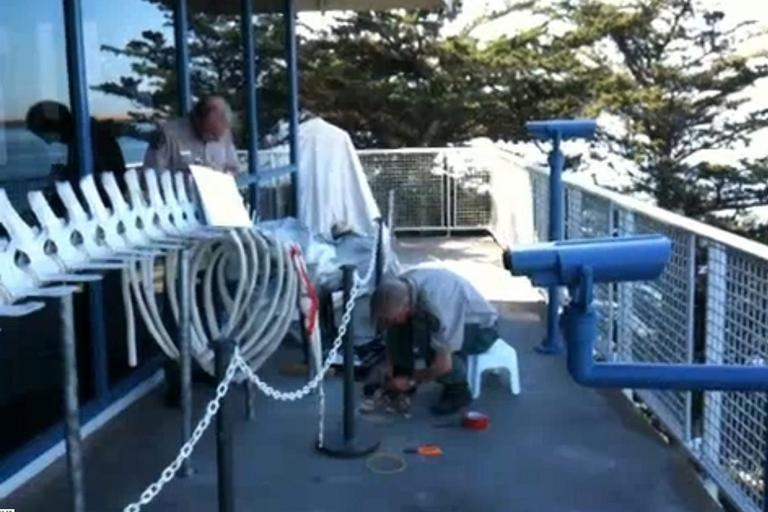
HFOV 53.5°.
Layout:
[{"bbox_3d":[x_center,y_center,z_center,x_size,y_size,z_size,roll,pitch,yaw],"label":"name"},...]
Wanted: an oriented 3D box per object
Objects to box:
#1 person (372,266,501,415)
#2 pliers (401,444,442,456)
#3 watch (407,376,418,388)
[{"bbox_3d":[0.392,0.606,6.153,1.114,1.192,0.782,-15,15,-39],"label":"person"},{"bbox_3d":[0.260,1.320,5.151,0.265,0.036,0.146,-1,15,-2],"label":"pliers"},{"bbox_3d":[0.211,0.992,5.896,0.063,0.101,0.026,-2,-8,-11],"label":"watch"}]
